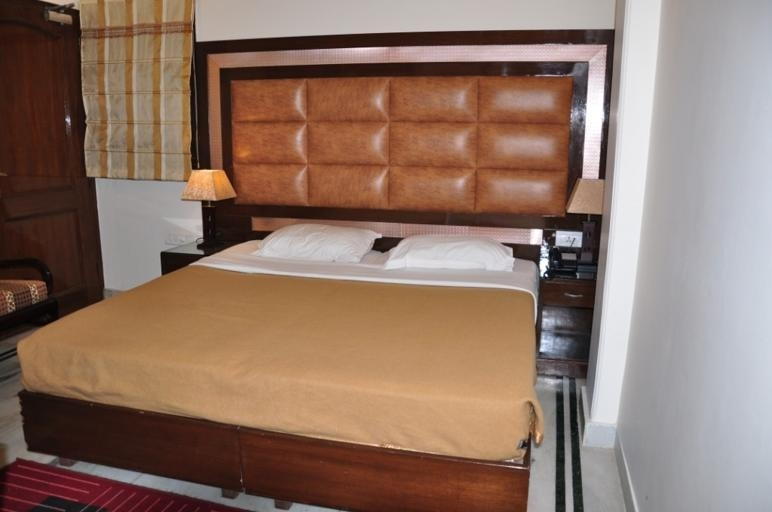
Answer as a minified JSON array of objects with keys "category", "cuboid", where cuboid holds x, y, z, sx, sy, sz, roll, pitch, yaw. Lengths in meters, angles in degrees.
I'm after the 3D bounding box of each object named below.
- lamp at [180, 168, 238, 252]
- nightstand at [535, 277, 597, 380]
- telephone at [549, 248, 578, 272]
[{"category":"lamp","cuboid":[-1.505,-0.387,4.751,0.434,0.646,0.381,1,7,-10]},{"category":"nightstand","cuboid":[1.305,0.548,4.189,0.472,0.695,0.277,7,-5,-14]},{"category":"telephone","cuboid":[1.353,0.006,4.225,0.211,0.145,0.205,5,18,16]}]
